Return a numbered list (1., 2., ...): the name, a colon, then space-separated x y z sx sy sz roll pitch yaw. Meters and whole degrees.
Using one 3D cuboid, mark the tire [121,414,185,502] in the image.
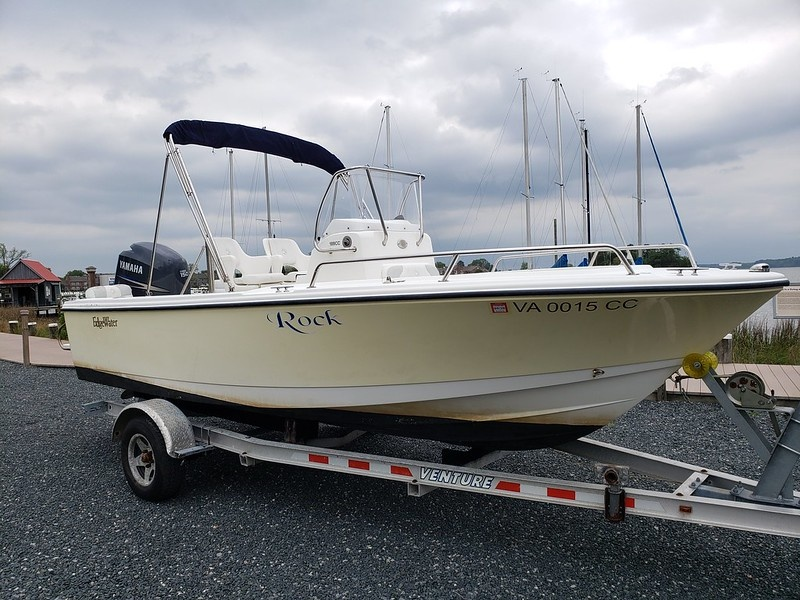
1. tire: -1.854 1.218 4.423 0.506 0.598 0.169 15 6 36
